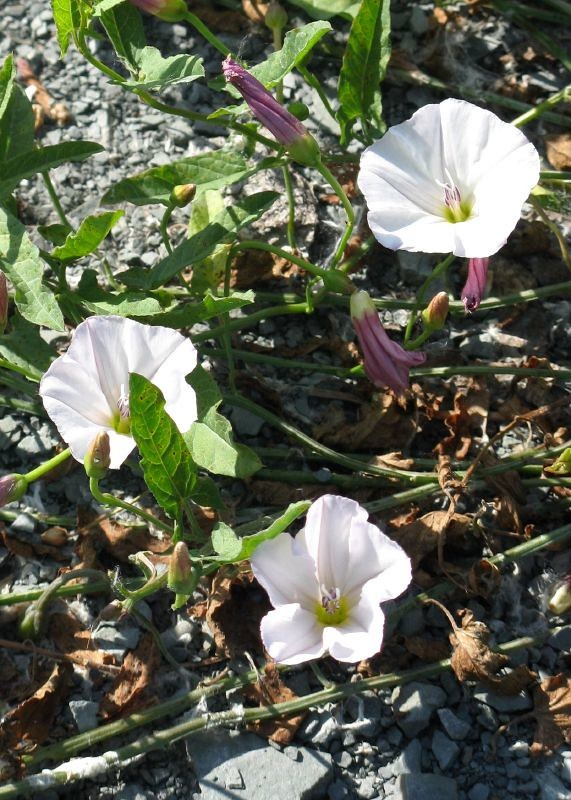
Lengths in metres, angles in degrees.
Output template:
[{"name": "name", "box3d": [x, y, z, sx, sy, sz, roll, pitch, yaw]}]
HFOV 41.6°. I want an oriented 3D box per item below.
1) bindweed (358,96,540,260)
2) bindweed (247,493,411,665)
[{"name": "bindweed", "box3d": [0.360, -0.476, 1.689, 0.382, 0.341, 0.392, 3, 30, 15]}, {"name": "bindweed", "box3d": [0.054, 0.360, 1.461, 0.294, 0.155, 0.312, -34, 9, -14]}]
